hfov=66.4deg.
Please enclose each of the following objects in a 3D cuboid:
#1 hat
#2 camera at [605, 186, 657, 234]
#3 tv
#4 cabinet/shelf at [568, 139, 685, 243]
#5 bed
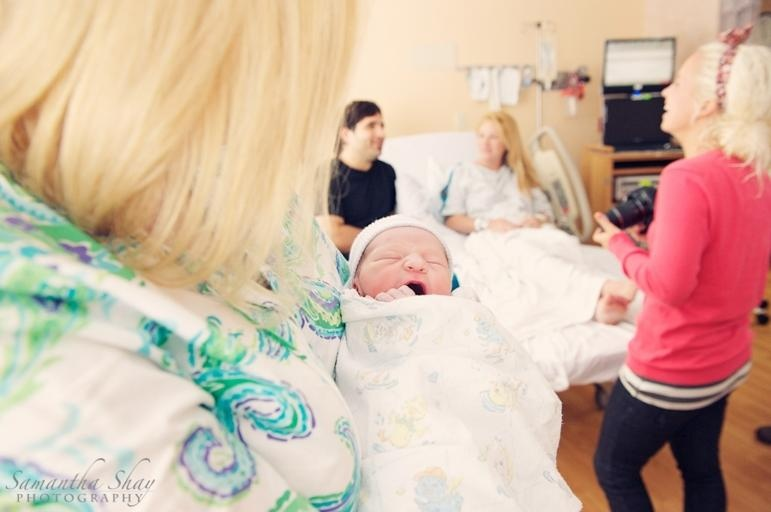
[{"bbox_3d":[0.014,0.026,1.604,0.195,0.239,0.092,-10,-8,-4],"label":"hat"},{"bbox_3d":[0.611,-0.112,1.495,0.137,0.087,0.054,-35,-6,0],"label":"camera"},{"bbox_3d":[1.610,-1.182,3.891,0.539,0.363,0.407,-1,-10,-1],"label":"tv"},{"bbox_3d":[1.598,-0.413,3.853,0.615,0.575,0.379,-6,16,-8],"label":"cabinet/shelf"},{"bbox_3d":[0.506,-0.060,2.467,0.756,0.880,1.418,-8,31,-9],"label":"bed"}]
